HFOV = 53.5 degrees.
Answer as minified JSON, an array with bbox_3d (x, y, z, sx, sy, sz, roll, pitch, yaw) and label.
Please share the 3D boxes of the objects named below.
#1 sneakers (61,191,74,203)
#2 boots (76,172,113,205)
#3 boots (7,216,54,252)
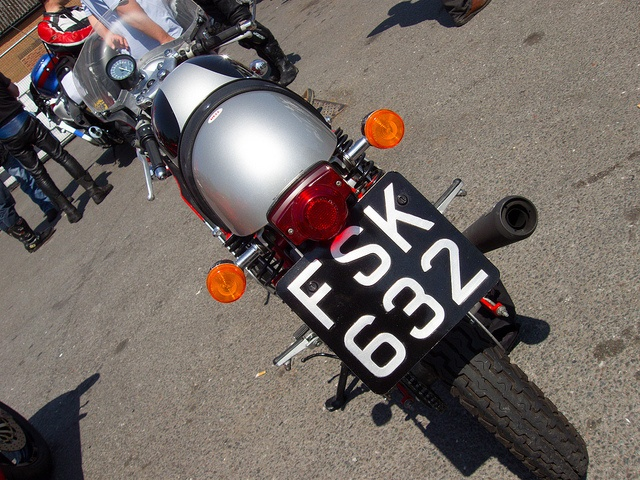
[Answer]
[{"bbox_3d":[-3.756,-0.636,9.477,0.073,0.067,0.451,-42,35,-9],"label":"sneakers"},{"bbox_3d":[-3.229,-0.816,9.203,0.185,0.435,0.422,-20,25,25],"label":"boots"},{"bbox_3d":[-4.100,-0.065,9.006,0.168,0.362,0.357,34,63,27],"label":"boots"}]
